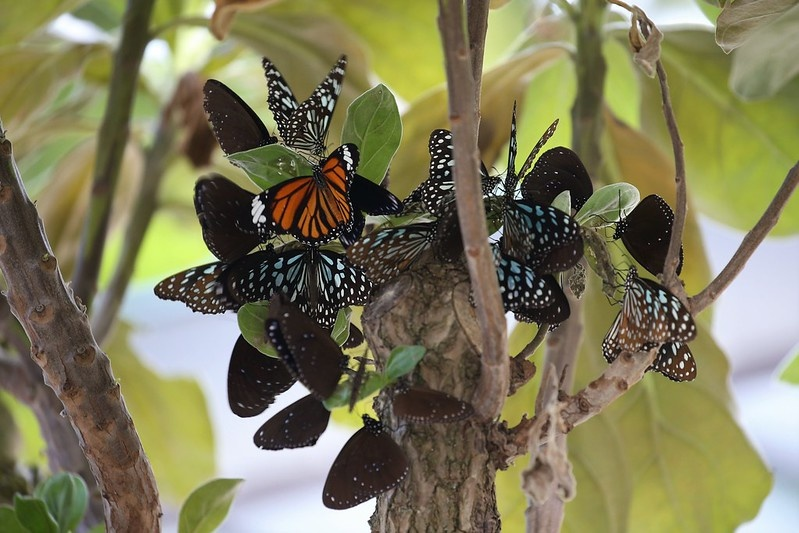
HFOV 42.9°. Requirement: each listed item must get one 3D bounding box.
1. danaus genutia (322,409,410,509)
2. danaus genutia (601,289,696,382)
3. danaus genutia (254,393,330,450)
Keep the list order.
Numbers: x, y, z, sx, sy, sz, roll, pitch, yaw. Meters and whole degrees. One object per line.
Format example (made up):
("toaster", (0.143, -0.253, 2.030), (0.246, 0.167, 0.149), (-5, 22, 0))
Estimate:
("danaus genutia", (-0.038, 0.205, 1.098), (0.107, 0.088, 0.049), (-18, -9, 5))
("danaus genutia", (0.274, 0.070, 1.097), (0.101, 0.098, 0.065), (13, 6, 23))
("danaus genutia", (-0.117, 0.172, 1.096), (0.072, 0.056, 0.029), (-40, -21, -15))
